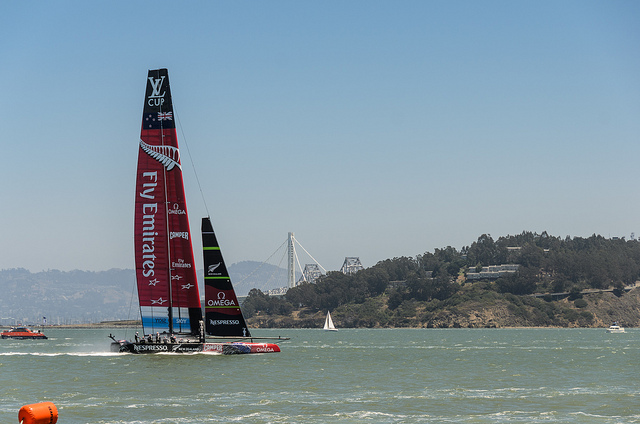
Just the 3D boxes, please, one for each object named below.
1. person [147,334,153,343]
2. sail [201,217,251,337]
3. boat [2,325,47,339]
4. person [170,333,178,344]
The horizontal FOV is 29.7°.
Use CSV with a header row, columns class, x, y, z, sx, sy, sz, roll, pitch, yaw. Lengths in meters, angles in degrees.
class,x,y,z,sx,sy,sz,roll,pitch,yaw
person,-18.545,13.598,131.671,0.537,0.813,0.797,-1,1,-8
sail,-11.028,7.156,134.634,3.983,13.111,1.023,-1,1,-5
boat,-47.243,18.880,192.250,5.863,1.730,6.501,-1,1,-9
person,-15.947,13.525,131.588,0.821,0.941,0.778,-1,1,-1
